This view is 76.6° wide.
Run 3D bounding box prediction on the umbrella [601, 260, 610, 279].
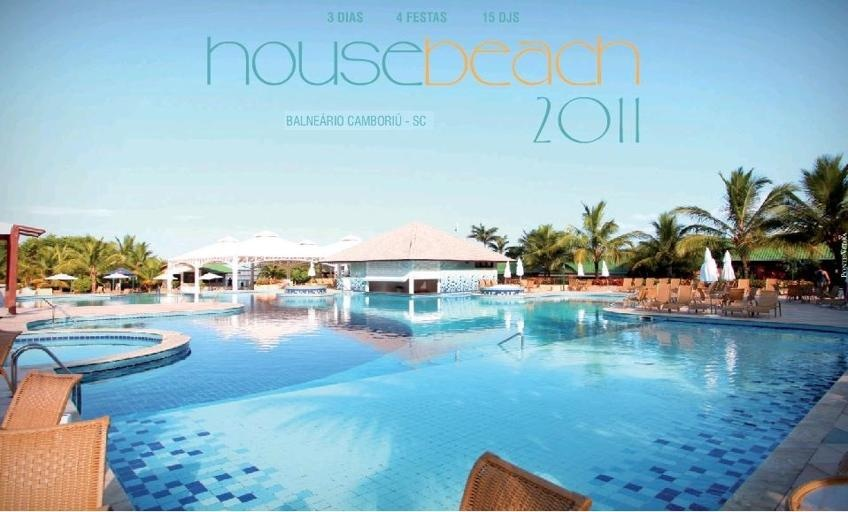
[{"bbox_3d":[16.041,1.105,47.846,0.517,1.387,3.968,-2,-1,17],"label":"umbrella"}]
